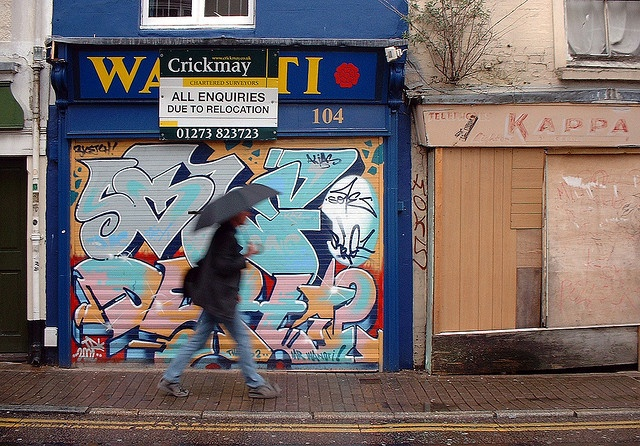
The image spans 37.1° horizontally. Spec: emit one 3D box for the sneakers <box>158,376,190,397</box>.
[{"bbox_3d":[-2.210,2.516,14.538,0.587,0.239,0.206,22,16,-23],"label":"sneakers"}]

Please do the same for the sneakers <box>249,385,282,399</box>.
[{"bbox_3d":[-0.842,2.545,14.469,0.442,0.128,0.216,-1,8,2],"label":"sneakers"}]
